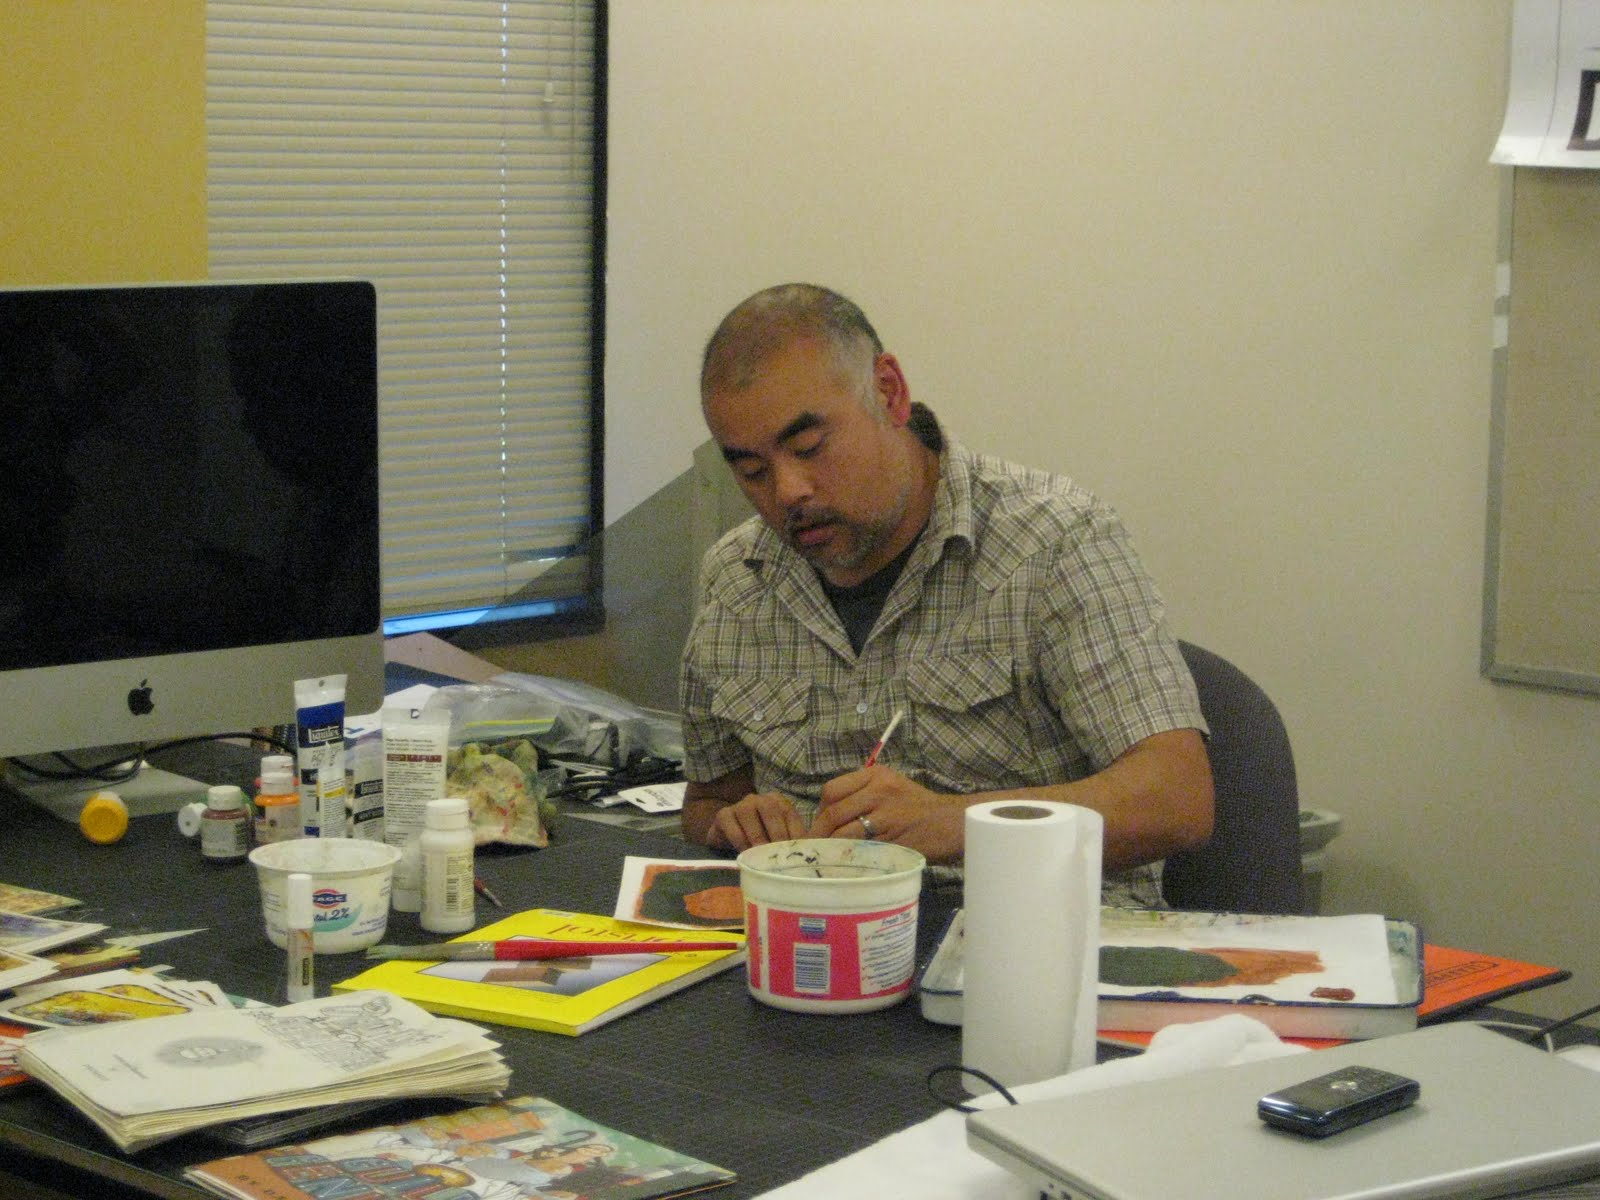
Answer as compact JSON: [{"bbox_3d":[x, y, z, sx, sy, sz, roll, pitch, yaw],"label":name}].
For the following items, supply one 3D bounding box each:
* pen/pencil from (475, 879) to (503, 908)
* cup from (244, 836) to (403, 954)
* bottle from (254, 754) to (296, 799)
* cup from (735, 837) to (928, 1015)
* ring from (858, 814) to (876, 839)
[{"bbox_3d":[-0.336,0.316,1.511,0.013,0.009,0.091,-21,19,-20],"label":"pen/pencil"},{"bbox_3d":[-0.475,0.291,1.400,0.150,0.081,0.136,5,5,39],"label":"cup"},{"bbox_3d":[-0.594,0.199,1.602,0.050,0.040,0.049,0,3,-7],"label":"bottle"},{"bbox_3d":[0.024,0.300,1.294,0.183,0.115,0.166,0,-3,-10],"label":"cup"},{"bbox_3d":[0.071,0.243,1.511,0.015,0.017,0.018,-7,37,-11],"label":"ring"}]
